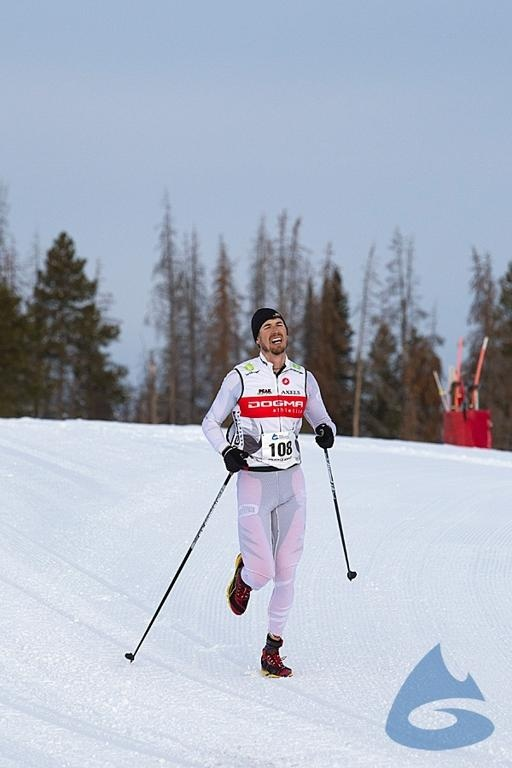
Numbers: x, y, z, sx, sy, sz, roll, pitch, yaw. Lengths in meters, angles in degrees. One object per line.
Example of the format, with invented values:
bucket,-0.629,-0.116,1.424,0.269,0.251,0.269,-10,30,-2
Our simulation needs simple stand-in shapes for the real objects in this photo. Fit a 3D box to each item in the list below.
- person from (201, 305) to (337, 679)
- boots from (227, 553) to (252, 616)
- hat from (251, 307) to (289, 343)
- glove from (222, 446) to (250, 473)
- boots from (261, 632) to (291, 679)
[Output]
person,0.067,0.477,5.424,0.681,1.738,0.564,2,7,-11
boots,-0.092,0.993,5.489,0.120,0.093,0.293,-41,16,6
hat,0.079,-0.321,5.486,0.149,0.164,0.165,-6,-6,-25
glove,-0.102,0.312,5.226,0.095,0.139,0.049,-2,-2,-14
boots,0.141,1.262,5.293,0.100,0.232,0.224,6,-8,-35
